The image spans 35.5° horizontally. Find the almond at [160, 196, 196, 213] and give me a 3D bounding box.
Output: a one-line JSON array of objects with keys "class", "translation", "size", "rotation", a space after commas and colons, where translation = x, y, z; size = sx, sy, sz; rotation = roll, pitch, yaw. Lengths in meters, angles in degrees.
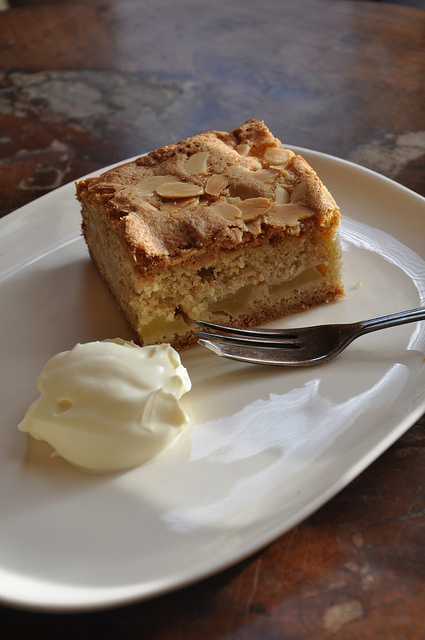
[{"class": "almond", "translation": [-0.100, -0.317, 1.800], "size": [0.055, 0.013, 0.089], "rotation": [25, 44, 30]}]

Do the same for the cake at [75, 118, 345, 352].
[{"class": "cake", "translation": [-0.032, -0.281, 1.993], "size": [0.713, 0.361, 0.509], "rotation": [-22, 50, -28]}]

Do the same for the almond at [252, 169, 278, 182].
[{"class": "almond", "translation": [0.148, -0.421, 1.920], "size": [0.053, 0.013, 0.050], "rotation": [10, 40, 26]}]

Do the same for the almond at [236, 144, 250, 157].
[{"class": "almond", "translation": [0.093, -0.524, 2.033], "size": [0.052, 0.011, 0.040], "rotation": [-1, 59, 4]}]

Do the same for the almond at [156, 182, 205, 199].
[{"class": "almond", "translation": [-0.097, -0.360, 1.830], "size": [0.107, 0.013, 0.053], "rotation": [2, 35, 1]}]

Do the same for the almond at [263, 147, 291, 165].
[{"class": "almond", "translation": [0.188, -0.493, 1.991], "size": [0.071, 0.015, 0.066], "rotation": [22, 37, 10]}]

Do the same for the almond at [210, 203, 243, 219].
[{"class": "almond", "translation": [0.038, -0.298, 1.801], "size": [0.063, 0.022, 0.077], "rotation": [-23, 42, -26]}]

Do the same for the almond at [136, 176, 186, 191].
[{"class": "almond", "translation": [-0.163, -0.392, 1.875], "size": [0.109, 0.009, 0.057], "rotation": [-10, 31, -19]}]

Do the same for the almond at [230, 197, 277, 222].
[{"class": "almond", "translation": [0.111, -0.308, 1.809], "size": [0.111, 0.022, 0.057], "rotation": [-22, 51, -12]}]

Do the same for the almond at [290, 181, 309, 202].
[{"class": "almond", "translation": [0.249, -0.359, 1.876], "size": [0.052, 0.010, 0.087], "rotation": [8, 50, 18]}]
